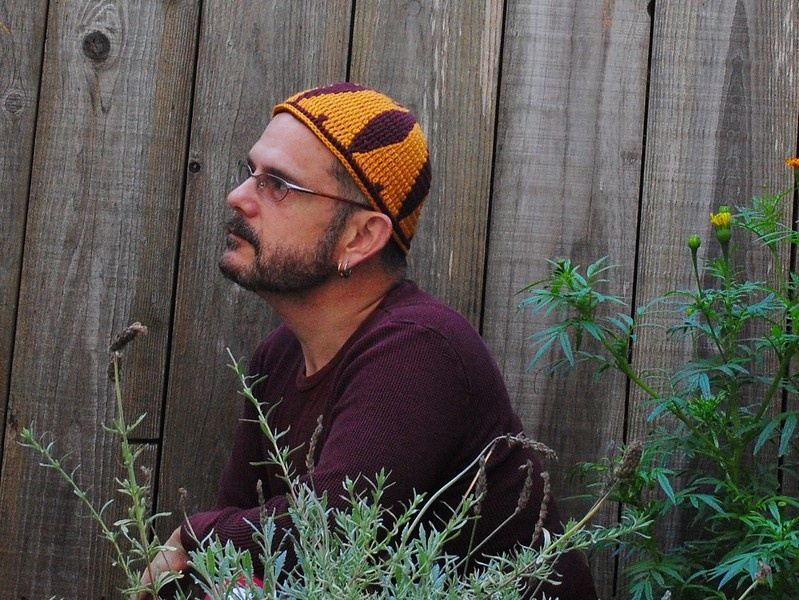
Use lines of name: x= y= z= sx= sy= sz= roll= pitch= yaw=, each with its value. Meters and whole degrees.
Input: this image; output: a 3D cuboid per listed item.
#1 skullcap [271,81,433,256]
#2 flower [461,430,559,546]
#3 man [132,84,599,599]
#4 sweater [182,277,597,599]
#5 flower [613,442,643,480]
skullcap: x=-0.128 y=-0.355 z=2.479 sx=0.445 sy=0.442 sz=0.467 roll=18 pitch=11 yaw=19
flower: x=0.238 y=0.429 z=2.063 sx=0.150 sy=0.266 sz=0.184 roll=31 pitch=-44 yaw=-2
man: x=-0.055 y=0.091 z=2.723 sx=1.129 sy=1.549 sz=1.018 roll=1 pitch=0 yaw=-6
sweater: x=-0.045 y=0.419 z=2.398 sx=0.867 sy=0.811 sz=0.684 roll=4 pitch=-13 yaw=-8
flower: x=0.384 y=0.269 z=1.551 sx=0.041 sy=0.071 sz=0.110 roll=2 pitch=-2 yaw=14
